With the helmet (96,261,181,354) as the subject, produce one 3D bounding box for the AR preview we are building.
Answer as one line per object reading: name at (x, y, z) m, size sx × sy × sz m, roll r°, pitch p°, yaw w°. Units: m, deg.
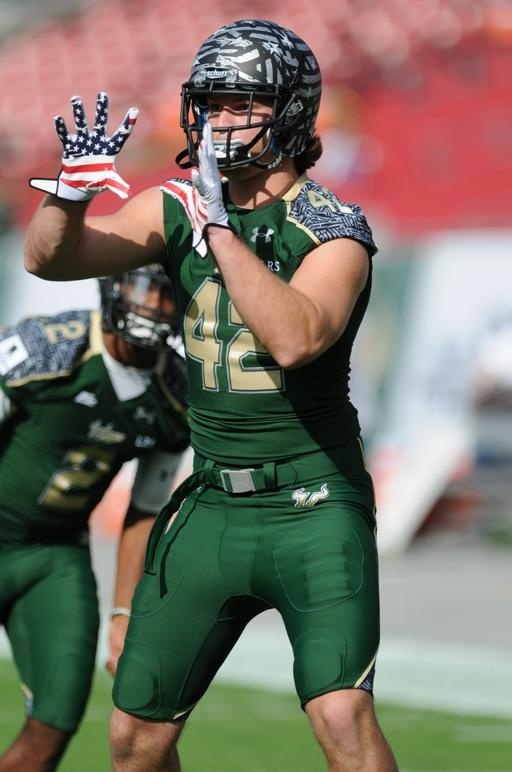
helmet at (-0.355, -0.205, 2.347) m, size 0.250 × 0.257 × 0.291 m, roll 12°, pitch -20°, yaw -21°
